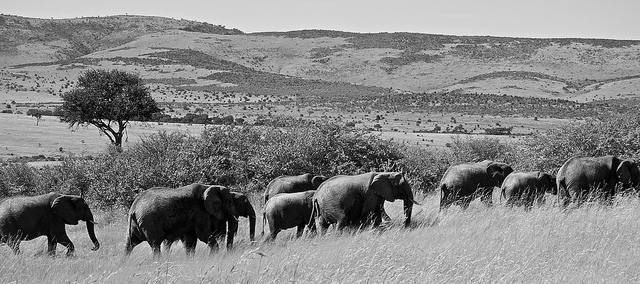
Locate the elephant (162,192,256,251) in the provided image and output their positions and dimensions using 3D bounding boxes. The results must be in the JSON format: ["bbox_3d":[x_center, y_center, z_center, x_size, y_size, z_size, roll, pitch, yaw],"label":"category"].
[{"bbox_3d":[-24.969,16.056,148.720,25.783,11.734,11.155,0,-5,-26],"label":"elephant"}]

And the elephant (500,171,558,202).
[{"bbox_3d":[44.963,9.808,156.379,8.235,7.220,11.645,0,-1,-21],"label":"elephant"}]

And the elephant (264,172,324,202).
[{"bbox_3d":[-5.680,9.173,156.037,13.507,5.945,5.156,-7,6,-9],"label":"elephant"}]

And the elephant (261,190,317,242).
[{"bbox_3d":[-4.552,15.639,155.050,20.094,10.018,8.303,-3,3,-36],"label":"elephant"}]
